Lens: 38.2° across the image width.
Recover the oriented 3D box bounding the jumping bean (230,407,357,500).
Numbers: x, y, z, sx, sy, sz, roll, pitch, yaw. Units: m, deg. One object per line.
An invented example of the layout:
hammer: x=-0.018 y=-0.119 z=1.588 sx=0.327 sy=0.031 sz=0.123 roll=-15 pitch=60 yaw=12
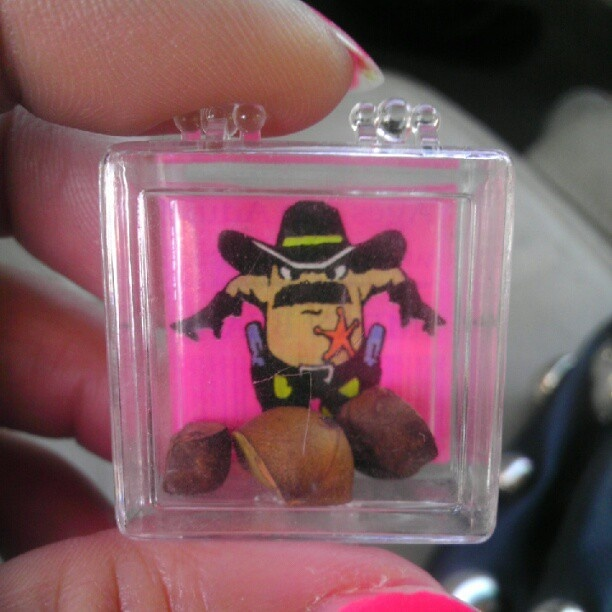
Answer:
jumping bean: x=-0.004 y=0.137 z=0.808 sx=0.080 sy=0.061 sz=0.081 roll=22 pitch=23 yaw=-14

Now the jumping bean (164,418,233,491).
jumping bean: x=-0.102 y=0.136 z=0.828 sx=0.051 sy=0.066 sz=0.034 roll=-22 pitch=1 yaw=-6
